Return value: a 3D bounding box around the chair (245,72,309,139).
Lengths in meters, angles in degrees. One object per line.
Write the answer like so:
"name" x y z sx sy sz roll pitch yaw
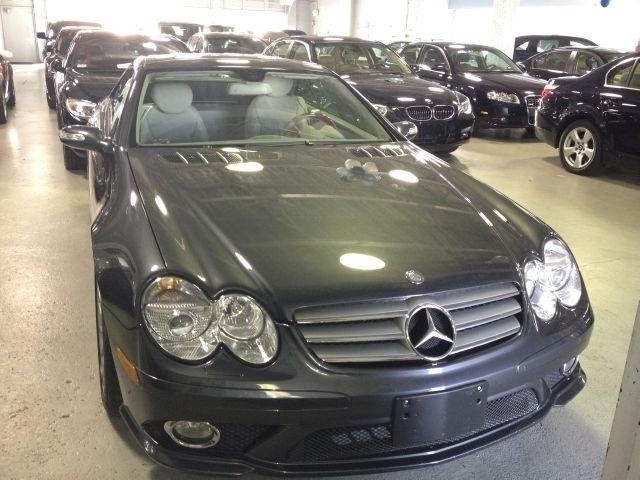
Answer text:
"chair" -0.295 -0.832 2.686 0.351 0.473 0.426 -1 23 -15

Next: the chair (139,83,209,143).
"chair" -0.834 -0.676 2.418 0.361 0.407 0.478 0 14 -15
